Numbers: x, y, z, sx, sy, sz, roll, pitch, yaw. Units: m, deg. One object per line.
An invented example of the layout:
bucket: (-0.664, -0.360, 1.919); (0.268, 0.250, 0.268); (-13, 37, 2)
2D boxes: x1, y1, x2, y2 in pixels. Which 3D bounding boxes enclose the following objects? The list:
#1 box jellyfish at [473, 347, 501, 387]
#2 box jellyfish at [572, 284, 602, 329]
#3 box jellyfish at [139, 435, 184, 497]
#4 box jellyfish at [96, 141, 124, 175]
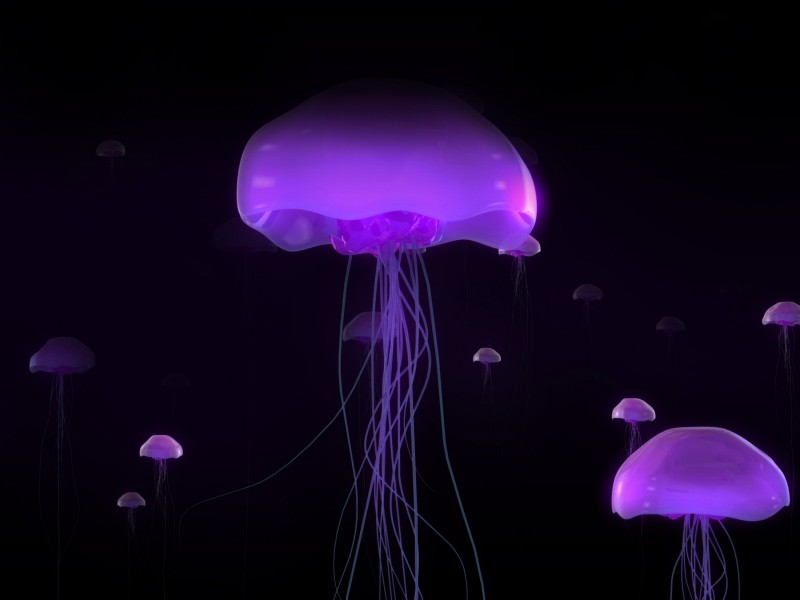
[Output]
box jellyfish: (0.462, 0.348, 5.094); (0.128, 0.199, 0.142); (3, 1, 40)
box jellyfish: (1.004, 0.026, 5.133); (0.138, 0.232, 0.129); (0, 18, 4)
box jellyfish: (-1.275, 0.891, 5.011); (0.210, 0.370, 0.240); (0, -13, 1)
box jellyfish: (-1.551, -0.752, 5.055); (0.155, 0.221, 0.043); (0, -3, -9)
